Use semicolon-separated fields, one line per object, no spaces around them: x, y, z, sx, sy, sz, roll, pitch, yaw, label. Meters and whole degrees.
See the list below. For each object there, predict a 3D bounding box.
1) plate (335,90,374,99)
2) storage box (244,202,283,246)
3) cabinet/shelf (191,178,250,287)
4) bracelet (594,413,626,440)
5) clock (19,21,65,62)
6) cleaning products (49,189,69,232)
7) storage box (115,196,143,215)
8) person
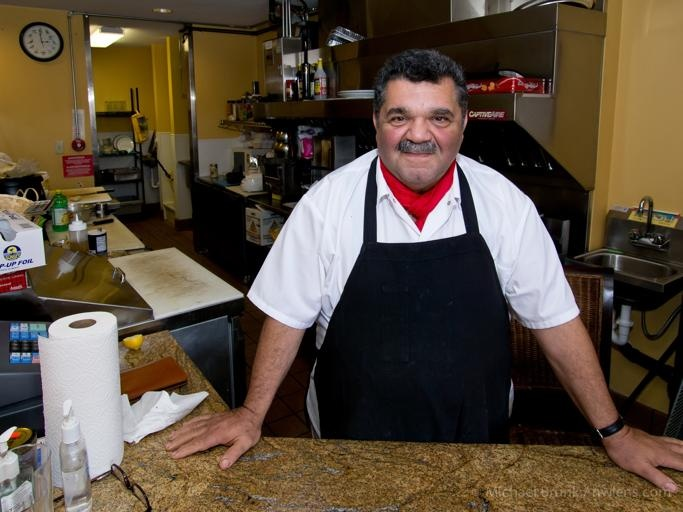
0.109;-1.118;3.682;0.242;0.042;0.253;8;20;28;plate
-0.815;-0.315;5.292;0.404;0.411;0.401;-2;20;-43;storage box
-1.268;-0.276;5.657;0.574;0.780;1.012;-6;18;-36;cabinet/shelf
0.809;0.494;1.569;0.062;0.026;0.065;-32;-3;5;bracelet
-3.228;-2.271;5.606;0.441;0.466;0.057;0;8;-38;clock
-1.968;-0.298;3.662;0.124;0.246;0.429;-10;19;-28;cleaning products
-3.315;-0.762;8.306;0.471;0.282;0.235;-16;22;-41;storage box
0.254;0.065;1.713;1.350;1.393;0.743;0;16;3;person
